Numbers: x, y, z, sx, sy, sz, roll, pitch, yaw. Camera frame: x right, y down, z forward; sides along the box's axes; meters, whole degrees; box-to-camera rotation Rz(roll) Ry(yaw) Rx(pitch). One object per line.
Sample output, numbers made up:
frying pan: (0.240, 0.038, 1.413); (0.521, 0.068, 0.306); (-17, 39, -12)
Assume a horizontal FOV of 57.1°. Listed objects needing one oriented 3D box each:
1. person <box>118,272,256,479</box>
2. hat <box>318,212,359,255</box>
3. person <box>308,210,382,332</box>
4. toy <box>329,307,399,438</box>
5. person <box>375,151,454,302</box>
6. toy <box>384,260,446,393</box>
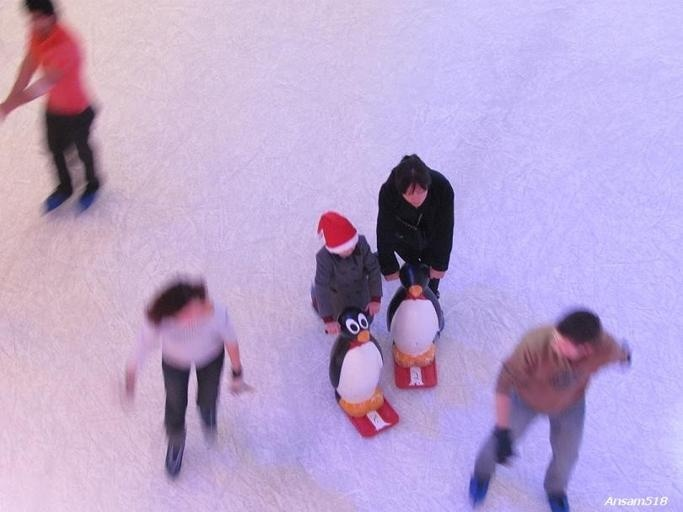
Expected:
person: (-1.040, 0.846, 4.264); (0.809, 1.579, 0.357); (-11, 29, -24)
hat: (-0.040, -0.201, 4.459); (0.273, 0.273, 0.256); (-4, 33, 12)
person: (0.018, 0.156, 4.717); (0.428, 0.973, 0.640); (-13, 66, -2)
toy: (0.151, 0.813, 4.507); (0.380, 0.805, 0.550); (-15, 28, -22)
person: (0.552, -0.143, 4.698); (0.575, 1.309, 0.483); (-2, 27, -8)
toy: (0.559, 0.564, 4.829); (0.499, 1.042, 0.758); (-1, 52, 7)
